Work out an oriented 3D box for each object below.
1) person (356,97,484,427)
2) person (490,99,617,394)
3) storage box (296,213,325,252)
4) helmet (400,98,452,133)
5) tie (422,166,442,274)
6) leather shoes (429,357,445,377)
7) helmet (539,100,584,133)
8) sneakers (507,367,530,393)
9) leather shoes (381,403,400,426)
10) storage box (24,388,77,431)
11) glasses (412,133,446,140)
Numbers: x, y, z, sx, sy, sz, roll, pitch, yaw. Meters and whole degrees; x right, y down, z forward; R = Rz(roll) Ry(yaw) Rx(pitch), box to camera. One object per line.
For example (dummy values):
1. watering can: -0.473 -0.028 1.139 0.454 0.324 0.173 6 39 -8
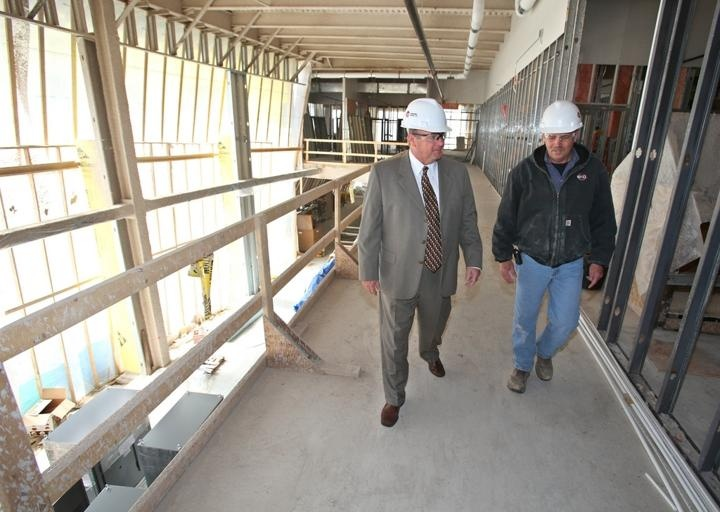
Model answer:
1. person: 0.388 0.043 3.115 0.780 2.244 0.480 -11 22 -31
2. person: 1.456 -0.018 3.228 0.866 2.179 0.470 -2 19 -6
3. storage box: -2.170 -0.931 17.746 0.964 1.705 1.003 -3 19 -9
4. helmet: 0.443 -0.975 2.930 0.384 0.239 0.302 18 24 41
5. tie: 0.498 -0.254 2.970 0.154 0.697 0.214 0 19 -1
6. leather shoes: 0.632 0.924 3.556 0.053 0.120 0.126 -23 66 -5
7. helmet: 1.484 -1.046 3.170 0.322 0.254 0.431 9 19 29
8. sneakers: 1.256 0.986 3.403 0.102 0.110 0.238 5 0 22
9. leather shoes: 0.208 1.160 3.105 0.090 0.081 0.185 1 27 12
10. storage box: -5.920 2.894 7.994 0.766 0.399 0.877 -1 13 -14
11. glasses: 0.490 -0.811 2.882 0.265 0.047 0.115 -8 21 -22
